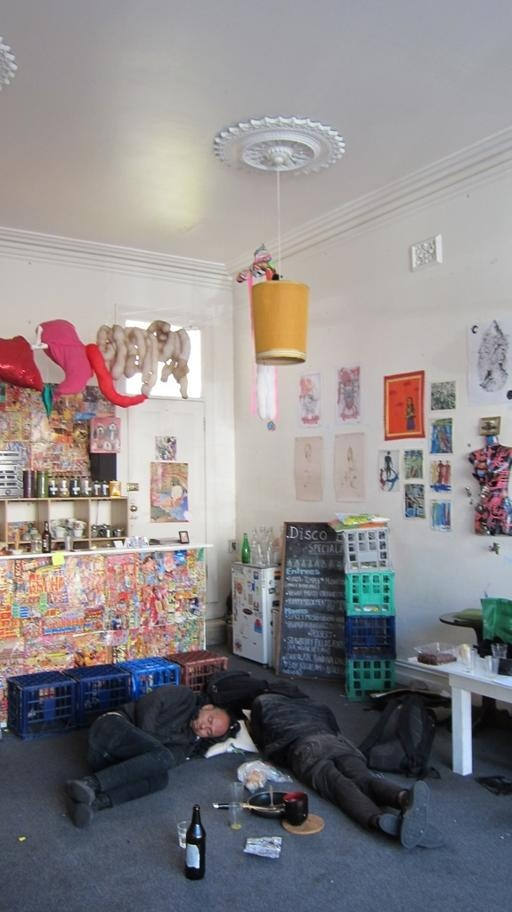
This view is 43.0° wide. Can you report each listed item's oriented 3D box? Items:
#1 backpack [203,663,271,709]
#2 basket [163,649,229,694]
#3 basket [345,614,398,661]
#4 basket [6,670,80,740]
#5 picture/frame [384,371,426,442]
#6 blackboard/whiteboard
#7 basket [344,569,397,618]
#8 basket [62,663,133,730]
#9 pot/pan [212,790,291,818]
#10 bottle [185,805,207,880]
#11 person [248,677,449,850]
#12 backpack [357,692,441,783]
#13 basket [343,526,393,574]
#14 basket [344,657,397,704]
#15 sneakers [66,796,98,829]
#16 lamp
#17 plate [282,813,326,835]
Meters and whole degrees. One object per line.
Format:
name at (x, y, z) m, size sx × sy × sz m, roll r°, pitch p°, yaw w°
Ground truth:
backpack at (-0.149, 1.370, 3.850) m, size 0.202 × 0.109 × 0.259 m, roll 4°, pitch -8°, yaw -33°
basket at (-0.407, 1.374, 4.225) m, size 0.237 × 0.166 × 0.244 m, roll 2°, pitch -4°, yaw -29°
basket at (0.797, 1.219, 4.470) m, size 0.282 × 0.304 × 0.284 m, roll -2°, pitch -3°, yaw 37°
basket at (-1.268, 1.435, 3.888) m, size 0.426 × 0.409 × 0.342 m, roll 1°, pitch 1°, yaw -39°
picture/frame at (1.084, -0.358, 4.673) m, size 0.041 × 0.671 × 0.466 m, roll 5°, pitch -6°, yaw -36°
blackboard/whiteboard at (0.425, 1.110, 5.045) m, size 0.522 × 1.173 × 0.332 m, roll -2°, pitch -4°, yaw 13°
basket at (0.774, 0.937, 4.434) m, size 0.287 × 0.293 × 0.297 m, roll 0°, pitch -1°, yaw 13°
basket at (-0.977, 1.405, 3.992) m, size 0.356 × 0.342 × 0.362 m, roll 3°, pitch -7°, yaw -36°
pot/pan at (0.007, 1.502, 2.788) m, size 0.225 × 0.036 × 0.145 m, roll 1°, pitch -1°, yaw -20°
bottle at (-0.217, 1.347, 2.298) m, size 0.071 × 0.266 × 0.139 m, roll -1°, pitch -4°, yaw -5°
person at (0.405, 1.341, 2.910) m, size 0.310 × 0.322 × 1.015 m, roll 4°, pitch 5°, yaw -23°
backpack at (0.739, 1.433, 3.413) m, size 0.333 × 0.466 × 0.408 m, roll 22°, pitch -21°, yaw -7°
basket at (0.773, 0.634, 4.600) m, size 0.344 × 0.360 × 0.270 m, roll 0°, pitch -3°, yaw -6°
basket at (0.766, 1.496, 4.390) m, size 0.275 × 0.228 × 0.289 m, roll 0°, pitch -4°, yaw 3°
sneakers at (-0.728, 1.485, 2.706) m, size 0.062 × 0.201 × 0.077 m, roll -2°, pitch 35°, yaw 1°
lamp at (0.176, -1.236, 4.055) m, size 0.783 × 1.499 × 1.291 m, roll -2°, pitch -4°, yaw 9°
plate at (0.202, 1.500, 2.628) m, size 0.173 × 0.015 × 0.151 m, roll 0°, pitch -5°, yaw -23°
